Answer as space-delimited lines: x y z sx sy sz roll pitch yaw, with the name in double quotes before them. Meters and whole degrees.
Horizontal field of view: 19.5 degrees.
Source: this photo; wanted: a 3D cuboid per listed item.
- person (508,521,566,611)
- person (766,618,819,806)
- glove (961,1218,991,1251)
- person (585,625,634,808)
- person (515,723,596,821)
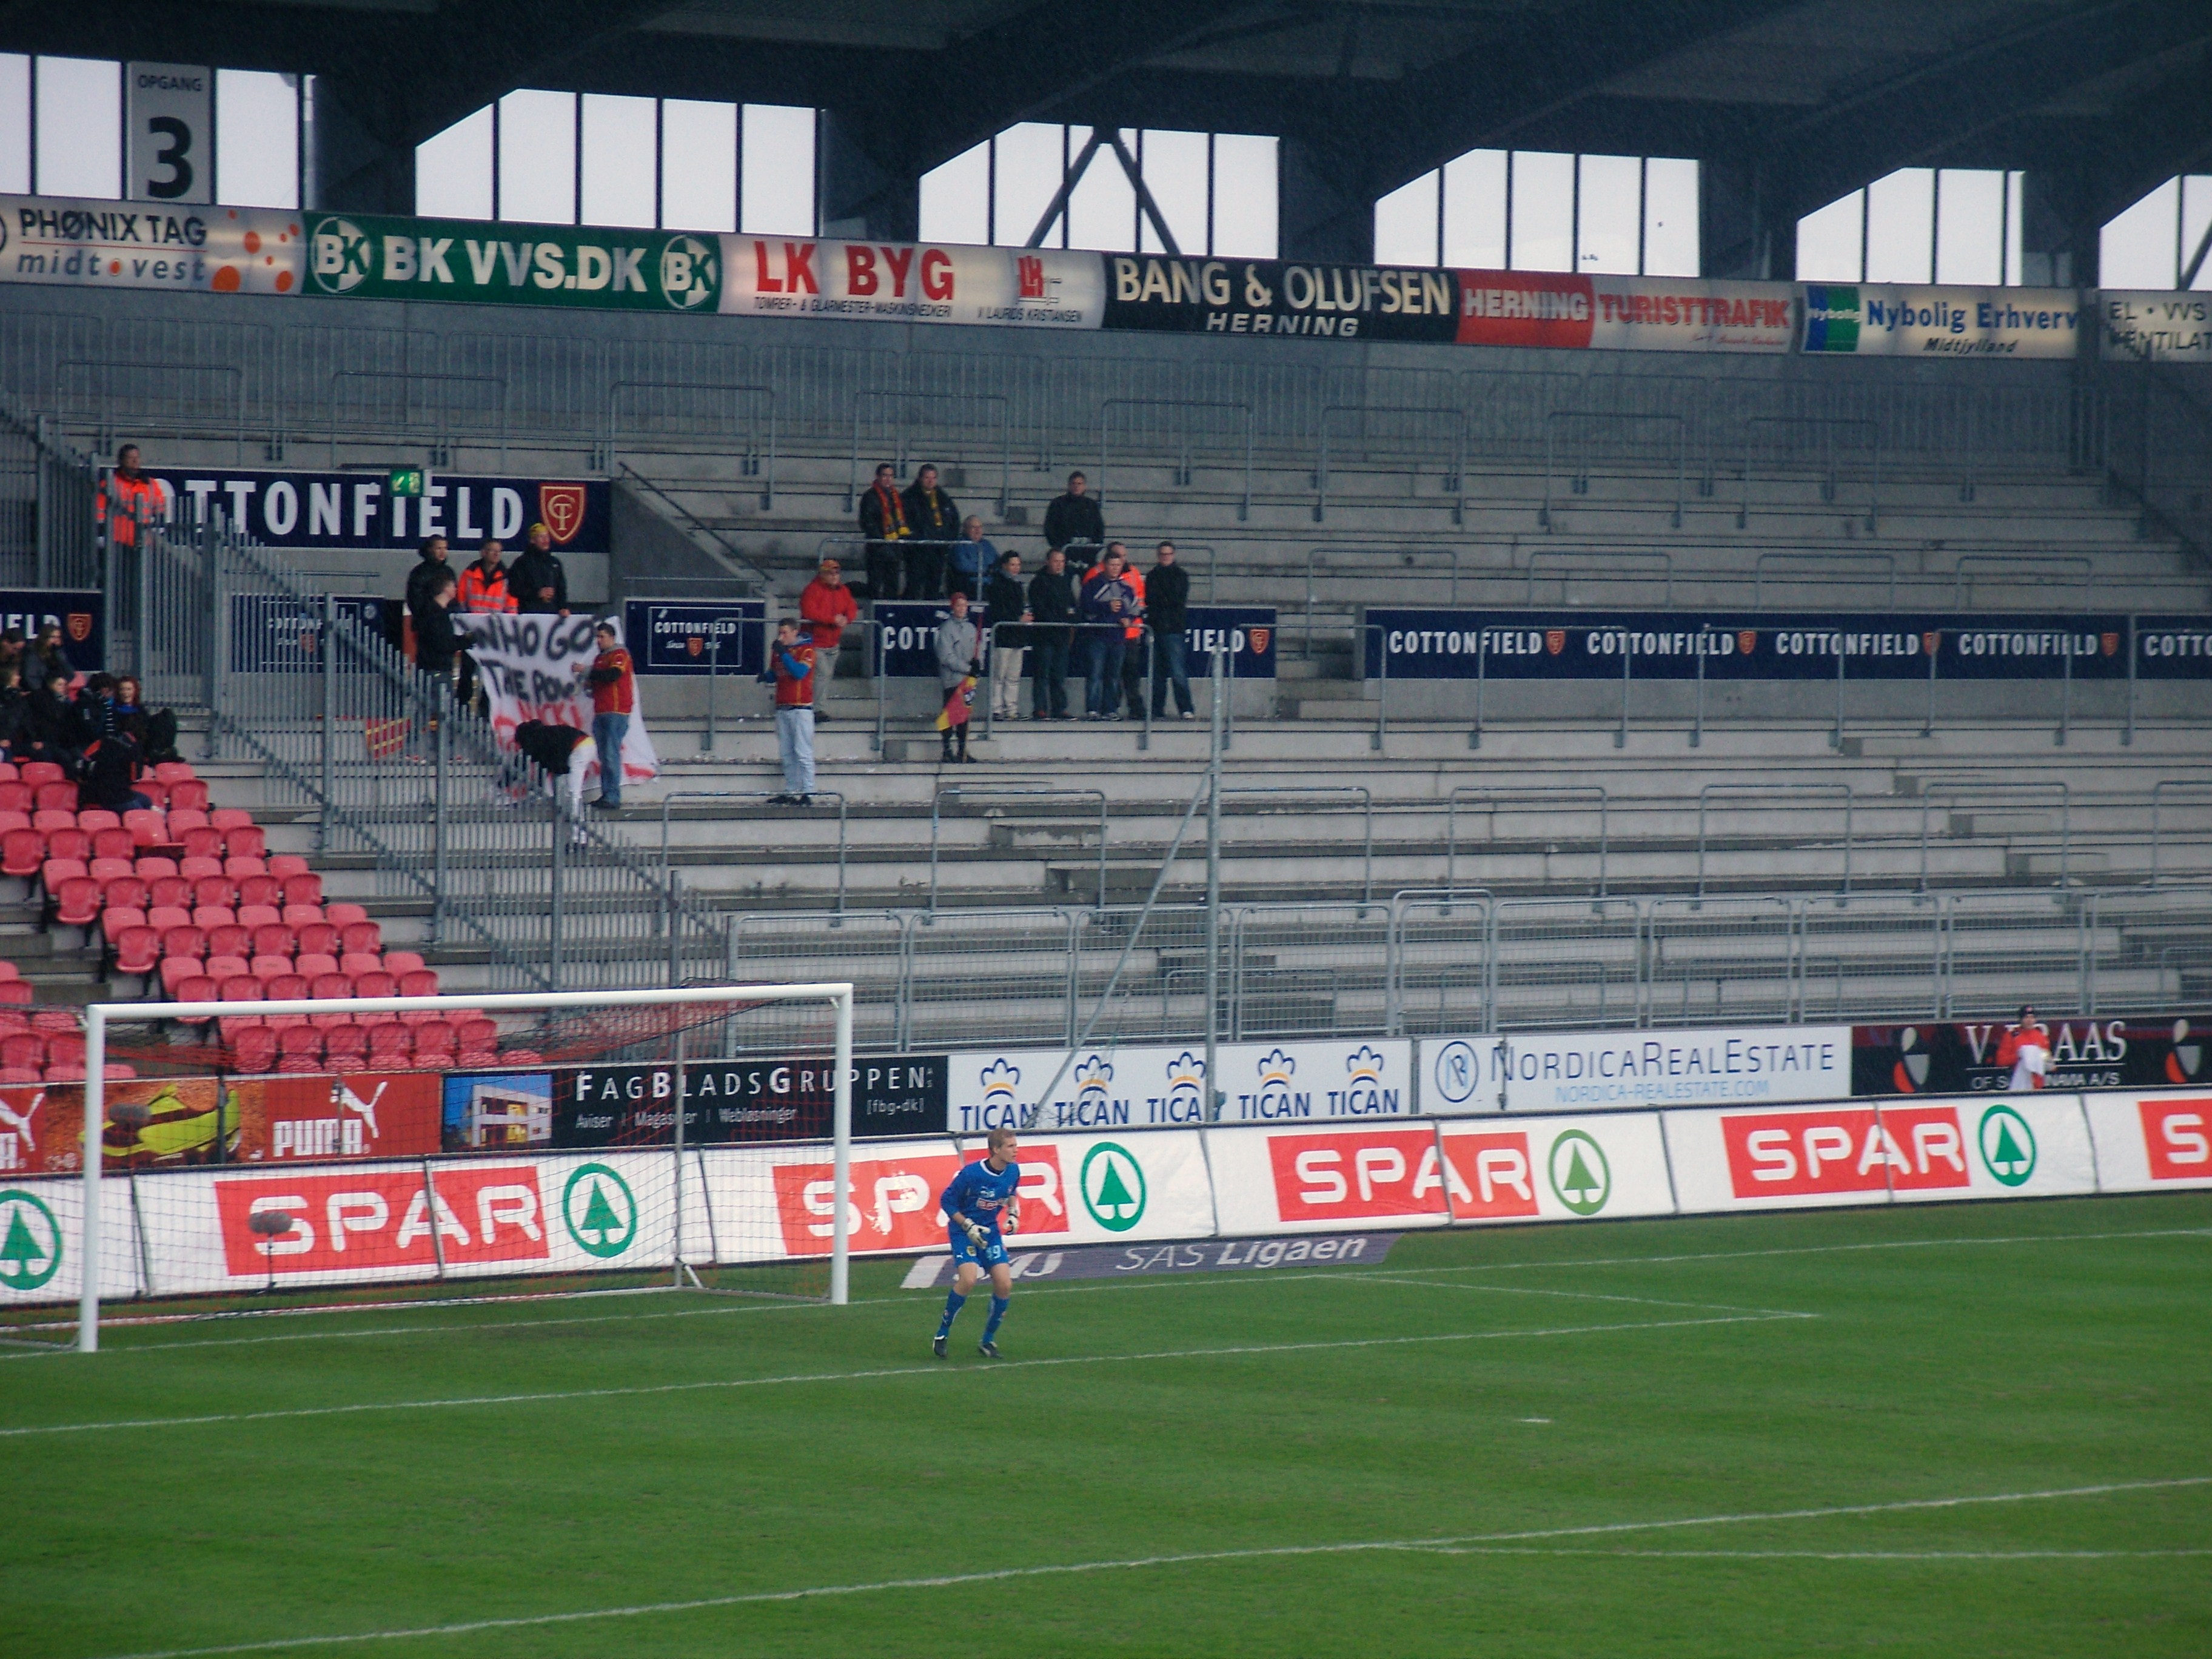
"person" -6.695 -3.265 76.173 0.605 1.120 1.207 -2 -4 -6
"person" -3.681 -1.482 76.919 0.497 2.225 1.227 -2 -4 -3
"glove" -1.264 4.212 66.355 0.290 0.294 0.309 4 -2 -15
"person" -5.765 -1.453 75.717 0.527 2.350 0.860 -2 -4 -5
"person" -6.323 -0.836 74.779 0.400 1.162 0.907 -23 -30 32
